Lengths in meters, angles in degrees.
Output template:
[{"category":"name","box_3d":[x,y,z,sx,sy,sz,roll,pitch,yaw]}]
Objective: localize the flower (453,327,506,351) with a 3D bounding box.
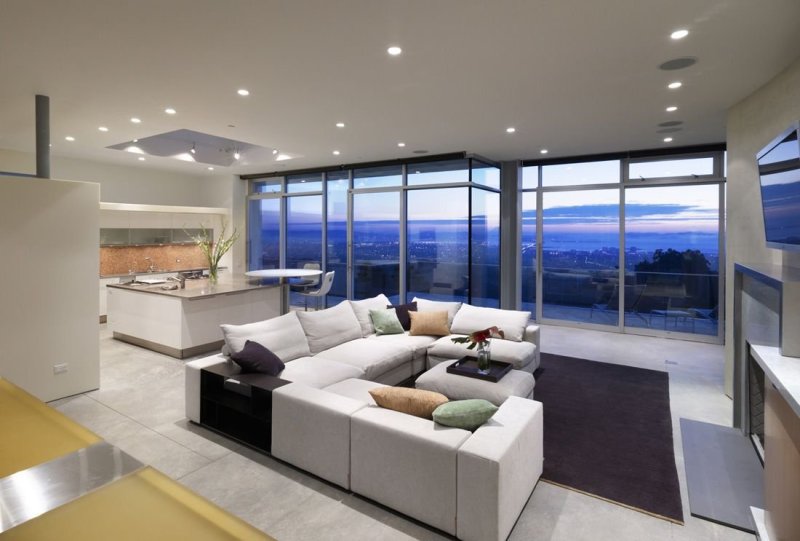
[{"category":"flower","box_3d":[0.861,0.689,5.088,0.447,0.136,0.438,-5,-6,-28]}]

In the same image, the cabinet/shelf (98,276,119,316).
[{"category":"cabinet/shelf","box_3d":[-4.985,0.492,8.391,0.318,0.685,1.672,-3,6,-30]}]

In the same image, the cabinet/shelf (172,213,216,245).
[{"category":"cabinet/shelf","box_3d":[-4.438,-0.961,10.621,0.276,0.640,0.891,1,5,22]}]

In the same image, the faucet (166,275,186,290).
[{"category":"faucet","box_3d":[-3.429,0.175,7.516,0.402,0.152,0.301,5,7,36]}]
